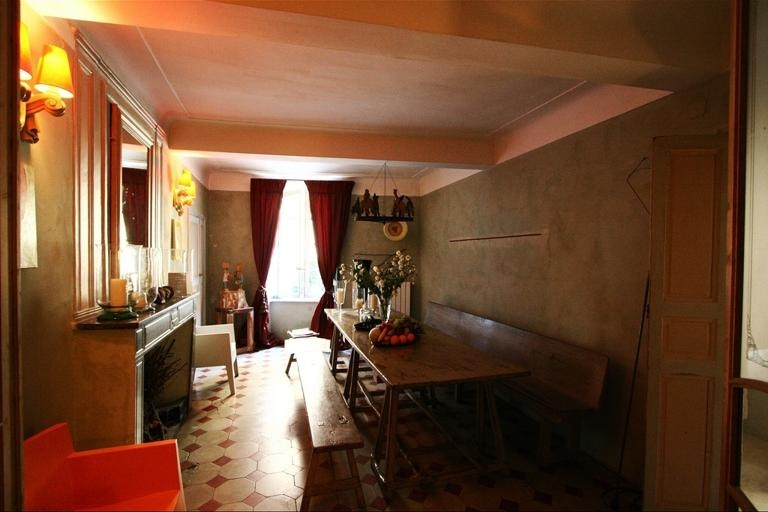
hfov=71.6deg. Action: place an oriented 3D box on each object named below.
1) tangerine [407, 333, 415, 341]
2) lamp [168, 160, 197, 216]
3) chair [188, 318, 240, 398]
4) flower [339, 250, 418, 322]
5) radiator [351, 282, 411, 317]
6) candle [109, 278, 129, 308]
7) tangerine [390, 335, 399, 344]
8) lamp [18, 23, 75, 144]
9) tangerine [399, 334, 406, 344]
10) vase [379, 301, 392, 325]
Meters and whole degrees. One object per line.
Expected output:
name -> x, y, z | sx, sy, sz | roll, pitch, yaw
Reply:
tangerine -> 0.246, 0.725, 4.774 | 0.061, 0.060, 0.061 | 7, 8, 22
lamp -> -2.307, -0.784, 6.153 | 0.228, 0.616, 0.489 | -1, 1, -17
chair -> -1.904, 0.974, 5.948 | 0.554, 0.417, 0.402 | 9, 17, 5
flower -> -0.094, 0.361, 6.602 | 0.927, 0.786, 0.773 | -5, -12, -37
radiator -> -0.040, 0.512, 6.194 | 0.679, 0.664, 0.024 | 2, -3, -20
candle -> -2.037, 0.289, 4.107 | 0.130, 0.219, 0.078 | -1, 1, -28
tangerine -> 0.094, 0.739, 4.677 | 0.072, 0.083, 0.071 | 13, 29, -5
lamp -> -2.292, -1.140, 3.629 | 0.301, 0.741, 0.414 | -1, 1, -32
tangerine -> 0.168, 0.739, 4.708 | 0.062, 0.060, 0.061 | -2, 6, -34
vase -> 0.030, 0.581, 5.543 | 0.185, 0.274, 0.192 | 1, -6, 1
